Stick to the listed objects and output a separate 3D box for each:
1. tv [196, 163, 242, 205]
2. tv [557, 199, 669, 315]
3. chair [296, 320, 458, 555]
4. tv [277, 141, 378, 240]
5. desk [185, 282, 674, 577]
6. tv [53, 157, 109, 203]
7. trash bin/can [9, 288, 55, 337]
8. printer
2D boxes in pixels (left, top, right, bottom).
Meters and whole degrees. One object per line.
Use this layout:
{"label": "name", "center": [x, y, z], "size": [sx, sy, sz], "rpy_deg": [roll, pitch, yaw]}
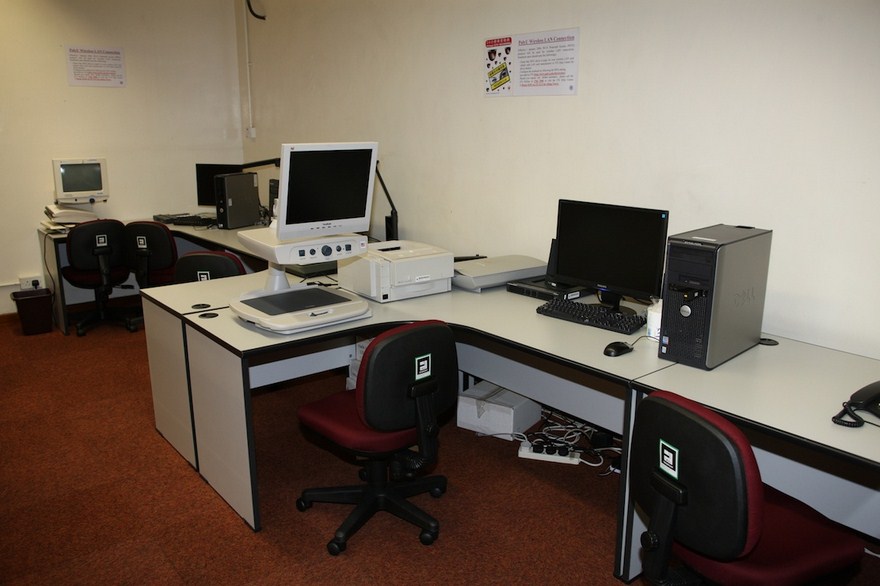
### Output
{"label": "tv", "center": [-1.911, -0.949, 5.335], "size": [0.449, 0.324, 0.061], "rpy_deg": [3, 4, 37]}
{"label": "tv", "center": [0.878, -0.187, 3.115], "size": [0.539, 0.405, 0.052], "rpy_deg": [15, 22, 39]}
{"label": "chair", "center": [-0.270, 0.629, 2.995], "size": [0.721, 1.053, 0.779], "rpy_deg": [11, 14, 43]}
{"label": "tv", "center": [-0.574, -0.515, 3.101], "size": [0.481, 0.423, 0.058], "rpy_deg": [-12, 28, -35]}
{"label": "desk", "center": [0.474, 0.289, 3.036], "size": [1.552, 0.829, 1.479], "rpy_deg": [-17, 25, -41]}
{"label": "tv", "center": [-3.054, -0.960, 5.207], "size": [0.342, 0.319, 0.191], "rpy_deg": [-10, 19, -44]}
{"label": "trash bin/can", "center": [-3.321, 0.109, 5.085], "size": [0.392, 0.414, 0.341], "rpy_deg": [-6, 11, -41]}
{"label": "printer", "center": [-0.255, -0.212, 3.409], "size": [0.441, 0.214, 0.394], "rpy_deg": [-12, 20, -38]}
